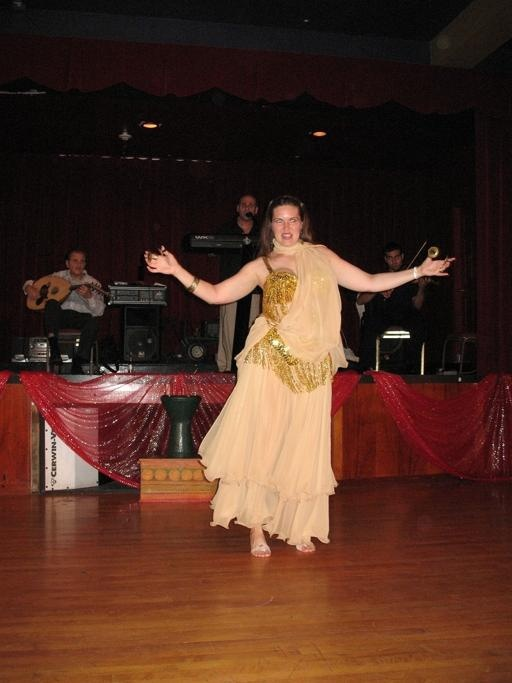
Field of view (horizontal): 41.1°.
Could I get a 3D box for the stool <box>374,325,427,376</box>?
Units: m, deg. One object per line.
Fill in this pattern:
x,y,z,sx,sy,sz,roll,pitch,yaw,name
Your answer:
1.210,0.087,5.631,0.377,0.567,0.507,1,-7,-8,stool

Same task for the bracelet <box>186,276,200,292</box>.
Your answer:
-0.264,-0.231,2.828,0.054,0.023,0.061,-25,-31,-32,bracelet

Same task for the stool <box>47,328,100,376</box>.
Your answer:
-1.325,0.072,5.203,0.504,0.385,0.361,0,-16,-7,stool

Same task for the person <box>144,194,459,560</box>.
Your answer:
0.120,0.138,2.922,0.920,1.470,0.419,2,0,6,person

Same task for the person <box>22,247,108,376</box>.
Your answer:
-1.663,-0.247,6.040,0.662,1.180,0.434,9,-32,-26,person

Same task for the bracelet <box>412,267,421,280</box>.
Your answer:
0.711,-0.301,3.030,0.042,0.046,0.019,-3,4,-13,bracelet
